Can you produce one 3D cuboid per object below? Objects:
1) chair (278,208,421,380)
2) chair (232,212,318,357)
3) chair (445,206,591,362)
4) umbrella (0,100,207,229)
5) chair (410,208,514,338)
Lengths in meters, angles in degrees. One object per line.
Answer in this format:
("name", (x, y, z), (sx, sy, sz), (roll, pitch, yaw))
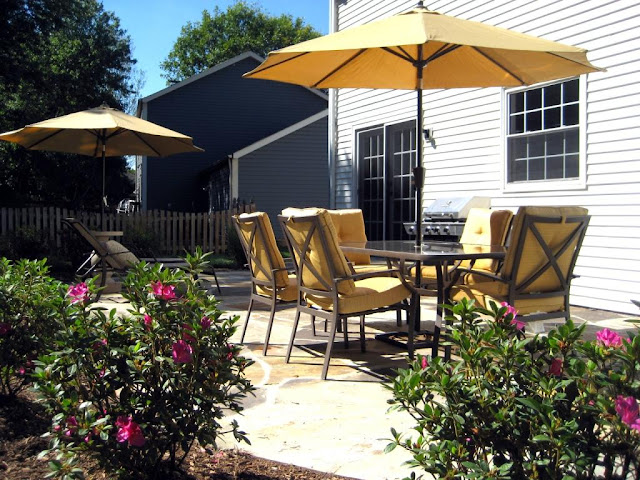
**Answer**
("chair", (0.192, 0.411, 4.620), (1.004, 1.345, 0.857), (-4, 3, -26))
("chair", (-0.357, 0.365, 5.147), (0.866, 1.207, 0.707), (-4, 4, -34))
("chair", (1.603, 0.348, 4.549), (1.001, 1.267, 1.002), (3, 4, 44))
("umbrella", (-3.534, -1.273, 8.997), (2.897, 1.709, 2.491), (2, 3, 40))
("chair", (1.418, 0.121, 5.447), (0.998, 1.126, 0.790), (0, 0, -16))
